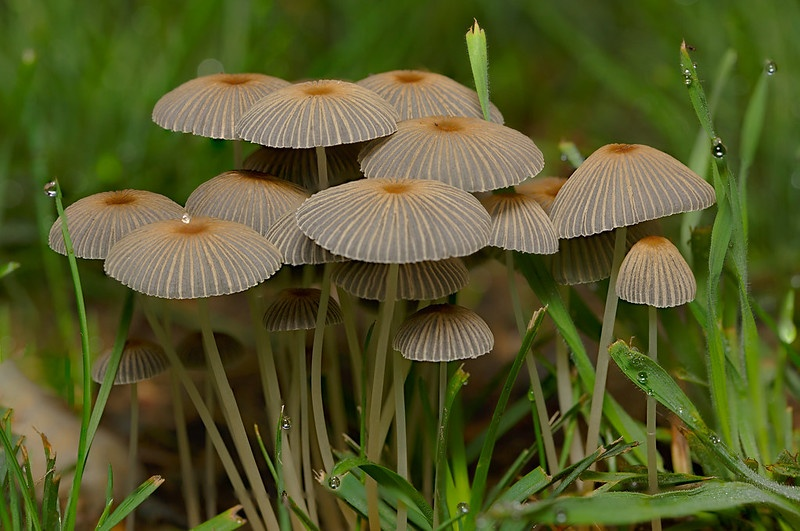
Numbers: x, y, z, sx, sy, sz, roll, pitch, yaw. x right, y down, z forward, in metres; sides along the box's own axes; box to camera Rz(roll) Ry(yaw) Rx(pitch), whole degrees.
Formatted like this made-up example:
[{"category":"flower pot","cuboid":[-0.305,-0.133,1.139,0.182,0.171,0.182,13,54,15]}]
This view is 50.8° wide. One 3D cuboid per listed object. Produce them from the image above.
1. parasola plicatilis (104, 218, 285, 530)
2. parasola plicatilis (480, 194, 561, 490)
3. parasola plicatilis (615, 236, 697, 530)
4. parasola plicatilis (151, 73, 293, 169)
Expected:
[{"category":"parasola plicatilis","cuboid":[-0.612,0.415,2.895,0.529,1.185,0.293,-6,14,19]},{"category":"parasola plicatilis","cuboid":[0.489,0.235,3.075,0.242,1.039,0.349,-8,13,11]},{"category":"parasola plicatilis","cuboid":[0.892,0.405,2.968,0.269,1.050,0.300,-12,13,-11]},{"category":"parasola plicatilis","cuboid":[-0.678,-0.541,3.017,0.307,0.199,0.332,3,29,1]}]
